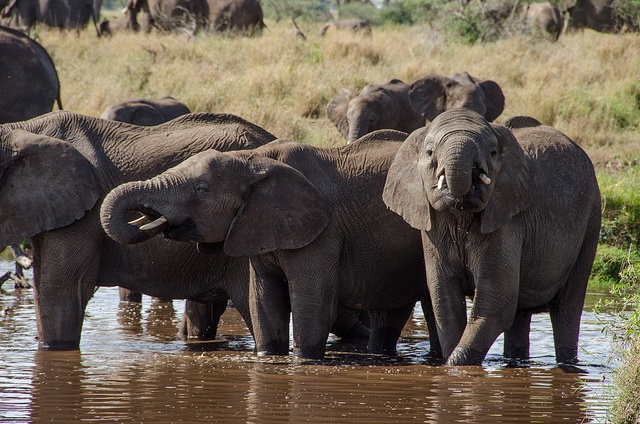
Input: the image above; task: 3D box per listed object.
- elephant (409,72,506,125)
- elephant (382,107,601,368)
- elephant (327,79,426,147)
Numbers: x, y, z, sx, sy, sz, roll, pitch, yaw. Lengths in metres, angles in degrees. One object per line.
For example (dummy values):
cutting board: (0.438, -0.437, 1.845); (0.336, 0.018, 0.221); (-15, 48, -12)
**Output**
elephant: (2.300, -1.987, 18.934); (1.196, 0.902, 1.486); (-4, 10, -18)
elephant: (1.606, 0.401, 11.128); (1.476, 2.587, 3.298); (1, -4, 31)
elephant: (0.916, -1.720, 19.353); (1.021, 0.962, 1.698); (1, 8, 30)
